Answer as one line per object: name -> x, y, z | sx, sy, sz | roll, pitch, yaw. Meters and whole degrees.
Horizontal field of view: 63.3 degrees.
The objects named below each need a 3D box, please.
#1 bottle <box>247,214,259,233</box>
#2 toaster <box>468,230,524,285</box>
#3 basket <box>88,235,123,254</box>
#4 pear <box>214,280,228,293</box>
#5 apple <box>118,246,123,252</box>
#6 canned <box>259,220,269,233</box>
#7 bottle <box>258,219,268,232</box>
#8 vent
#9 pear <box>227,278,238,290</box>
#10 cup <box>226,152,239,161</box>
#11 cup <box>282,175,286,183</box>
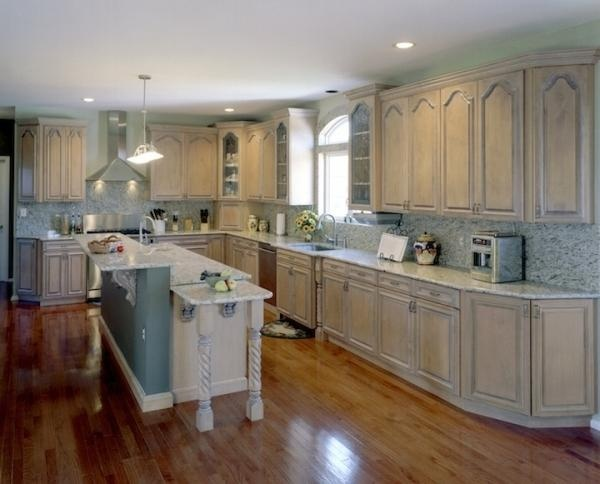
bottle -> -0.787, -0.310, 8.106 | 0.221, 0.335, 0.228 | 0, -3, 0
toaster -> 1.665, 0.130, 4.258 | 0.412, 0.562, 0.394 | 0, -1, -20
basket -> -1.840, 0.034, 4.627 | 0.201, 0.111, 0.273 | 0, 1, -13
pear -> -0.615, 0.345, 3.814 | 0.103, 0.084, 0.113 | -2, 9, -15
apple -> -1.701, 0.071, 4.615 | 0.049, 0.054, 0.048 | -1, -1, -28
canned -> -0.604, -0.264, 8.025 | 0.160, 0.215, 0.180 | 0, -2, -17
bottle -> -0.618, -0.263, 8.064 | 0.161, 0.206, 0.179 | -1, -2, -27
vent -> -2.947, -1.514, 7.851 | 0.999, 1.126, 0.928 | 7, 9, 11
pear -> -0.541, 0.333, 3.838 | 0.065, 0.086, 0.091 | -1, 9, -9
cup -> -1.126, -1.405, 8.124 | 0.221, 0.161, 0.122 | 2, 8, 13
cup -> -0.234, -0.901, 6.981 | 0.062, 0.121, 0.124 | 1, -1, -21
